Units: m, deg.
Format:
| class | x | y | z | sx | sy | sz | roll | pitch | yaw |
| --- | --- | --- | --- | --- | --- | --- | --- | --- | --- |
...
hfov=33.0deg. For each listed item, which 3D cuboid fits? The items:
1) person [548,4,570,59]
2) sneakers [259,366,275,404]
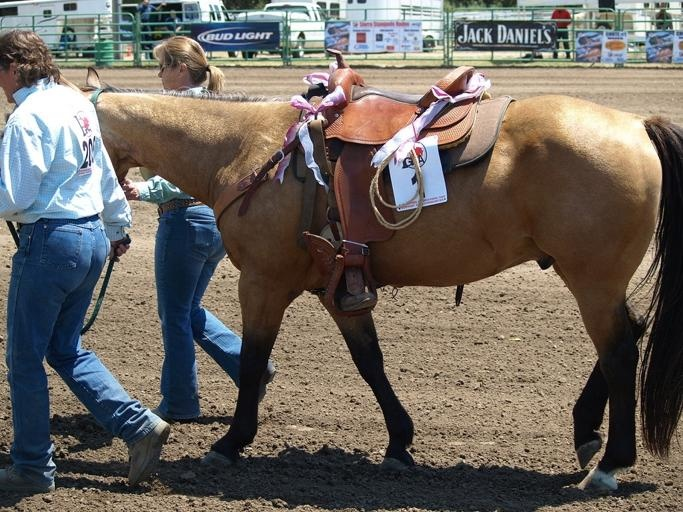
| class | x | y | z | sx | sy | sz | roll | pitch | yaw |
| --- | --- | --- | --- | --- | --- | --- | --- | --- | --- |
| person | 3.991 | -4.011 | 20.851 | 0.349 | 0.937 | 0.971 | 2 | 12 | 10 |
| sneakers | -0.503 | 0.847 | 7.679 | 0.097 | 0.219 | 0.175 | 11 | 7 | 3 |
